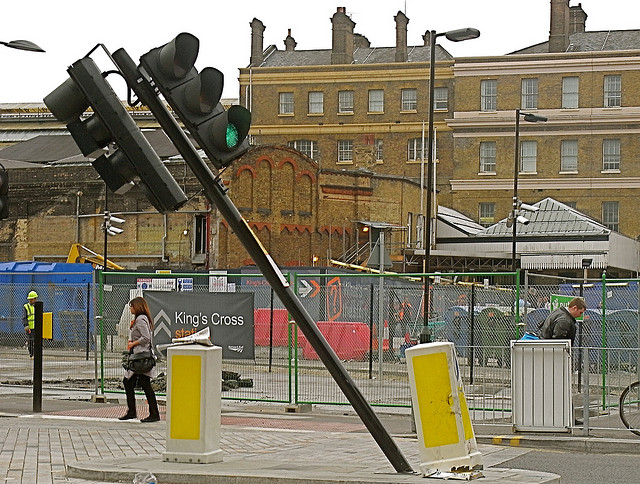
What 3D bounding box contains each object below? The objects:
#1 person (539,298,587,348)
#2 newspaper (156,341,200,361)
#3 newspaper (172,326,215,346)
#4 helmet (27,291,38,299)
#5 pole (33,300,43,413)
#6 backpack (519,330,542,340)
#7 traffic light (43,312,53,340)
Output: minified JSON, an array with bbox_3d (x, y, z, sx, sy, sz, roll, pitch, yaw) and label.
[{"bbox_3d":[5.423,1.916,30.505,0.767,1.344,1.236,11,9,12],"label":"person"},{"bbox_3d":[-2.858,2.236,27.480,0.693,0.291,0.945,-1,-3,11],"label":"newspaper"},{"bbox_3d":[-2.508,1.948,26.622,0.688,0.339,0.398,-10,-13,8],"label":"newspaper"},{"bbox_3d":[-8.966,1.722,42.415,0.270,0.246,0.489,2,-7,-14],"label":"helmet"},{"bbox_3d":[-6.584,2.743,31.780,0.231,2.605,0.769,2,-6,-11],"label":"pole"},{"bbox_3d":[4.776,2.172,30.496,0.557,0.255,0.209,-2,3,-14],"label":"backpack"},{"bbox_3d":[-7.844,2.497,39.238,0.242,0.787,1.176,2,-7,-12],"label":"traffic light"}]
